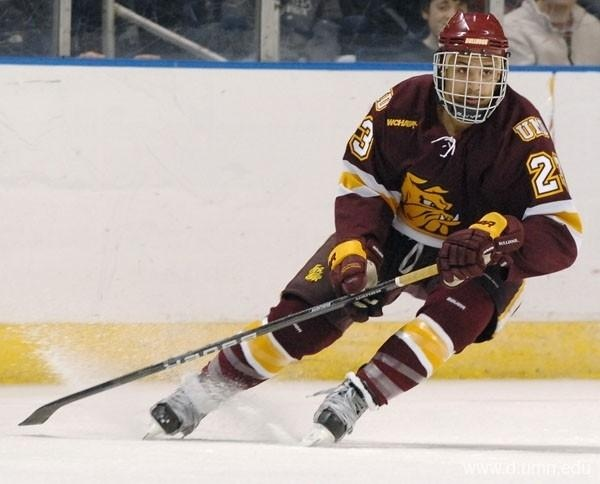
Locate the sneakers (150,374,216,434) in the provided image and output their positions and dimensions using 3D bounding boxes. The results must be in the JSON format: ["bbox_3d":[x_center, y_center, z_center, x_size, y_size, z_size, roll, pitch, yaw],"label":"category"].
[{"bbox_3d":[-0.468,0.658,4.199,0.190,0.061,0.114,-17,45,-40],"label":"sneakers"}]

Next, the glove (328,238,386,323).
[{"bbox_3d":[0.197,0.143,4.219,0.247,0.288,0.135,15,-3,-22],"label":"glove"}]

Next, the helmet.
[{"bbox_3d":[0.644,-0.688,4.187,0.301,0.351,0.376,3,19,0],"label":"helmet"}]

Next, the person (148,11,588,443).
[{"bbox_3d":[0.484,-0.112,4.125,0.990,1.251,0.975,-5,43,-18],"label":"person"}]

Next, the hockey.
[{"bbox_3d":[-0.246,0.391,4.563,2.004,0.151,0.163,-17,-1,9],"label":"hockey"}]

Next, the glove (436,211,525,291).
[{"bbox_3d":[0.690,0.011,4.099,0.243,0.178,0.422,18,30,24],"label":"glove"}]
